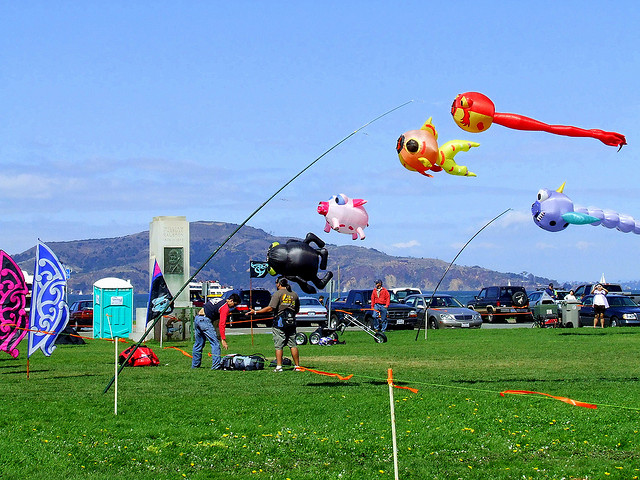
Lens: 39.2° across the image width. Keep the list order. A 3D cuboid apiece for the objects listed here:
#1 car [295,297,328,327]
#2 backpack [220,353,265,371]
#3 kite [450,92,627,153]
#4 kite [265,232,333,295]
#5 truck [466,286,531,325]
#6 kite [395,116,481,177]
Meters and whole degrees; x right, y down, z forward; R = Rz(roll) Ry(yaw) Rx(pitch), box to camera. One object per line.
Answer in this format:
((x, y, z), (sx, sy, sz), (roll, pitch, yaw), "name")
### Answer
((-0.344, 3.202, 40.651), (1.193, 0.832, 2.579), (0, 2, -1), "car")
((-1.752, 2.794, 20.460), (0.651, 0.240, 0.430), (2, 0, 16), "backpack")
((4.220, -2.196, 17.102), (3.358, 0.863, 0.865), (10, 12, 5), "kite")
((-0.436, 0.505, 18.818), (1.348, 1.012, 0.777), (-1, 0, -4), "kite")
((8.573, 3.105, 43.211), (1.972, 1.734, 3.424), (1, -4, -21), "truck")
((2.370, -1.662, 17.941), (1.620, 0.811, 1.284), (14, 6, 33), "kite")
